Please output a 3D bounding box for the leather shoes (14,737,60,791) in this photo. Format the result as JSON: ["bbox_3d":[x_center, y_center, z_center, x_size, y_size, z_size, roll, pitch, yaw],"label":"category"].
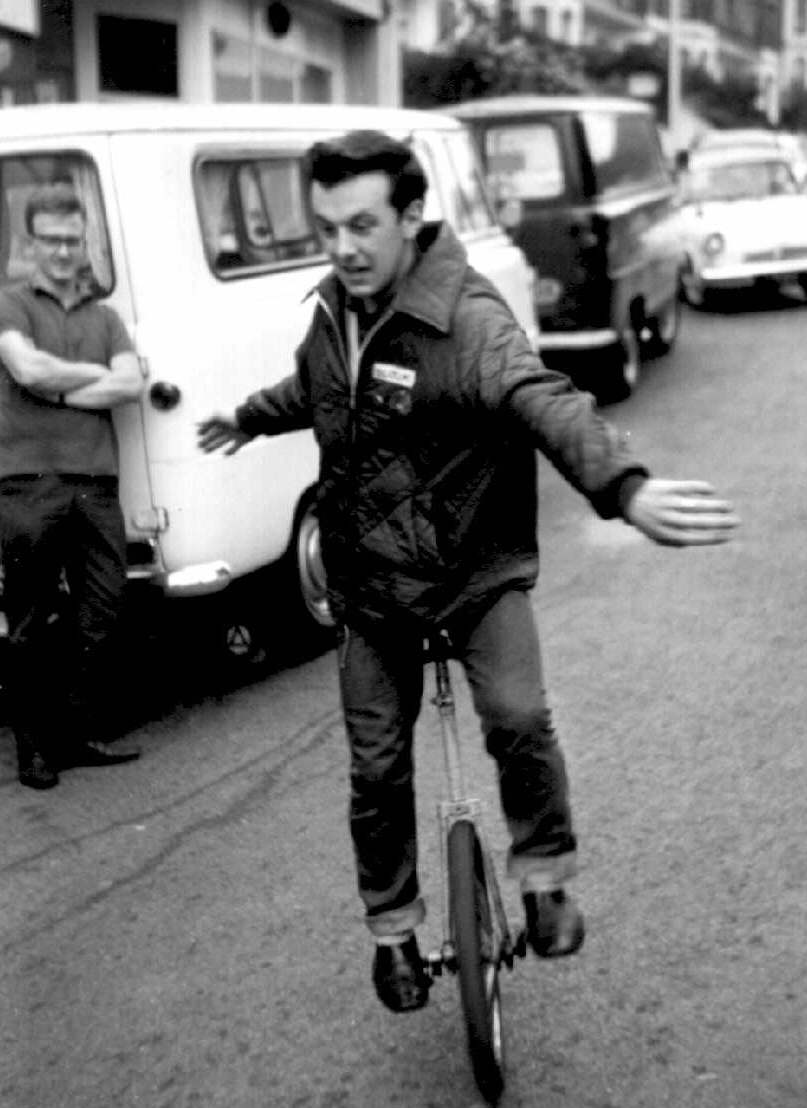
[{"bbox_3d":[-1.188,0.670,3.694,0.125,0.172,0.129,-5,7,-21],"label":"leather shoes"}]

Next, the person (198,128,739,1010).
[{"bbox_3d":[0.028,0.028,1.876,0.348,1.434,1.138,-7,5,-43],"label":"person"}]
